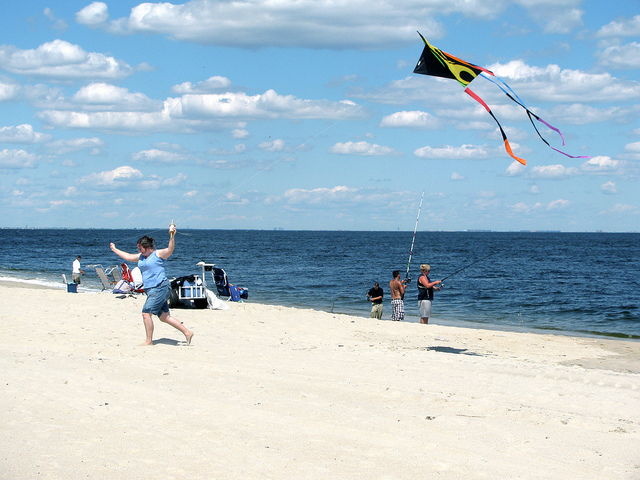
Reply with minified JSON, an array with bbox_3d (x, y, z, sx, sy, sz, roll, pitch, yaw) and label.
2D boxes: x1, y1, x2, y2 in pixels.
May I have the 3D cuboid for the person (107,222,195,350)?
[{"bbox_3d":[-2.732,0.745,12.822,1.042,2.081,0.900,-2,11,-27],"label":"person"}]

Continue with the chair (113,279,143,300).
[{"bbox_3d":[-4.860,1.231,19.350,0.676,0.393,0.393,-11,-2,44],"label":"chair"}]

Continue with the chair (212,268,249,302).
[{"bbox_3d":[-2.433,1.276,20.787,0.911,0.876,0.699,8,-6,-40],"label":"chair"}]
